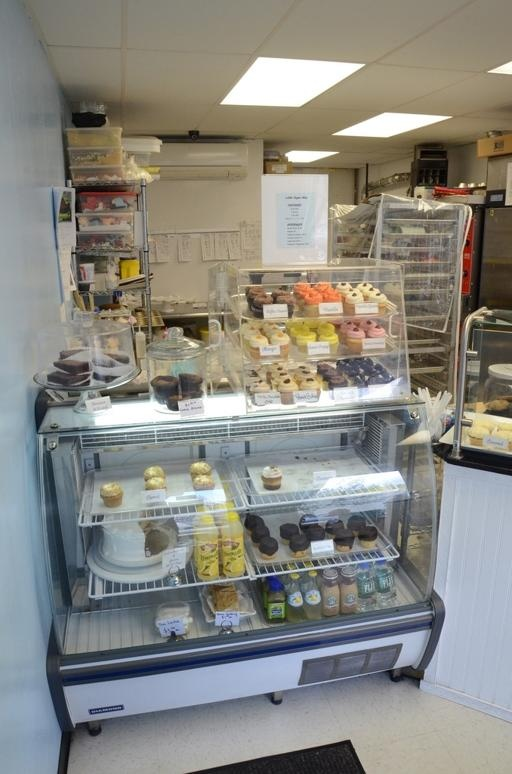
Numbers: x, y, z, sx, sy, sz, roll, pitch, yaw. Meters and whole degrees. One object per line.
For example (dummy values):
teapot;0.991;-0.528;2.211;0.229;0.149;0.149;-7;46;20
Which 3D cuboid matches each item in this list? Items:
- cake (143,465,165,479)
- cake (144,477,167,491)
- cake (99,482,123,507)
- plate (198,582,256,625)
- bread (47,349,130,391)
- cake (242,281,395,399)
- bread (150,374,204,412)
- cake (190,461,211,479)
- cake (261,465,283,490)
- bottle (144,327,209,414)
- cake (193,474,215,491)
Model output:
cake;-0.322;0.270;1.721;0.064;0.032;0.046;-3;11;-14
cake;-0.311;0.301;1.680;0.037;0.025;0.045;1;5;-6
cake;-0.443;0.326;1.660;0.063;0.056;0.063;0;7;-3
plate;-0.089;0.705;1.786;0.179;0.099;0.161;-5;12;-21
bread;-0.478;-0.053;1.576;0.241;0.107;0.147;-4;11;-20
cake;0.183;-0.157;1.856;0.641;0.457;0.348;-2;6;-13
bread;-0.240;0.006;1.704;0.123;0.077;0.124;0;7;-1
cake;-0.182;0.263;1.744;0.053;0.041;0.054;0;5;-1
cake;0.049;0.295;1.784;0.066;0.068;0.067;0;1;-2
bottle;-0.234;-0.060;1.753;0.196;0.280;0.200;-6;3;0
cake;-0.171;0.304;1.718;0.050;0.037;0.050;0;3;-4
